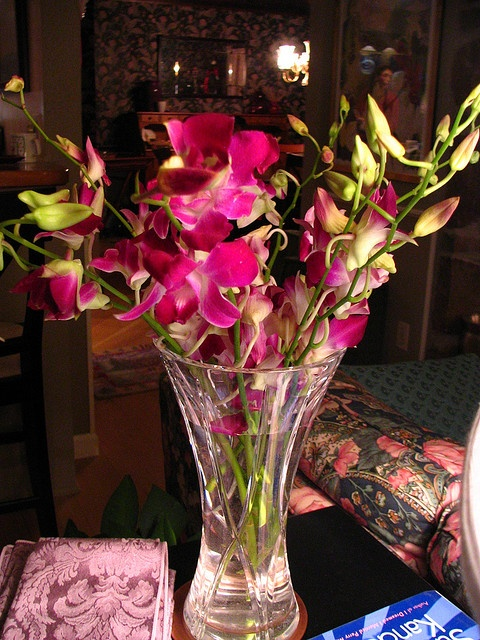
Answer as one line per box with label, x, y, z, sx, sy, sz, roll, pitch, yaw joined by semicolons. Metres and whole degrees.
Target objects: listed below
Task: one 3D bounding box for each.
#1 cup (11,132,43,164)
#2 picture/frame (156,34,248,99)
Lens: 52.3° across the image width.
cup;-0.972;-0.786;2.224;0.167;0.164;0.107;13;17;28
picture/frame;-0.625;-3.838;7.317;1.258;0.798;0.046;-2;7;-22
